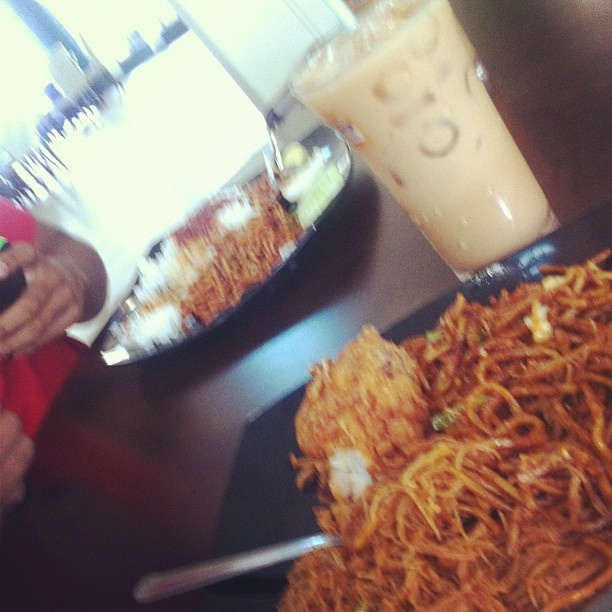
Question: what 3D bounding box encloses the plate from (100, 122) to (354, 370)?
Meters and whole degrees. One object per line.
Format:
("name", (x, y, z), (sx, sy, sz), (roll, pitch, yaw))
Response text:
("plate", (-0.084, -0.036, 0.677), (0.389, 0.145, 0.052), (-42, -17, 4))
